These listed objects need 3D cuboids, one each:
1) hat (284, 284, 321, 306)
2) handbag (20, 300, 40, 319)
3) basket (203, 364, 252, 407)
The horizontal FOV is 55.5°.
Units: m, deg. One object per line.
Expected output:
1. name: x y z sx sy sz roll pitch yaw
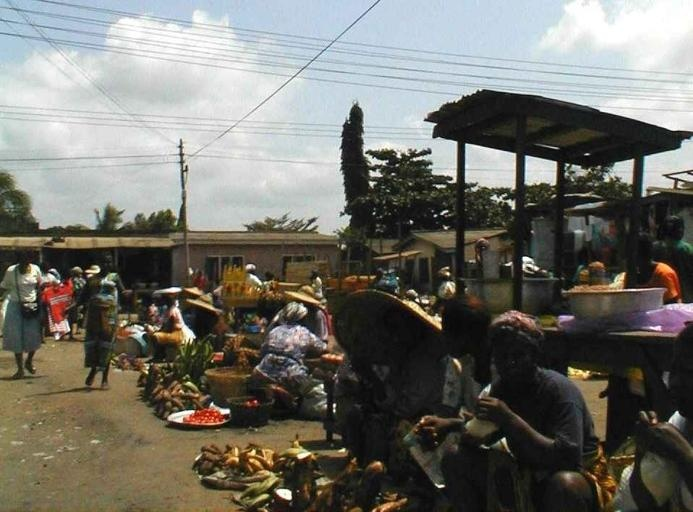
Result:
1. hat: -0.600 0.593 9.423 0.336 0.085 0.347 19 3 5
2. handbag: -4.908 0.813 10.292 0.368 0.350 0.199 2 -4 -37
3. basket: -1.572 1.680 8.650 0.515 0.393 0.537 0 -7 1
